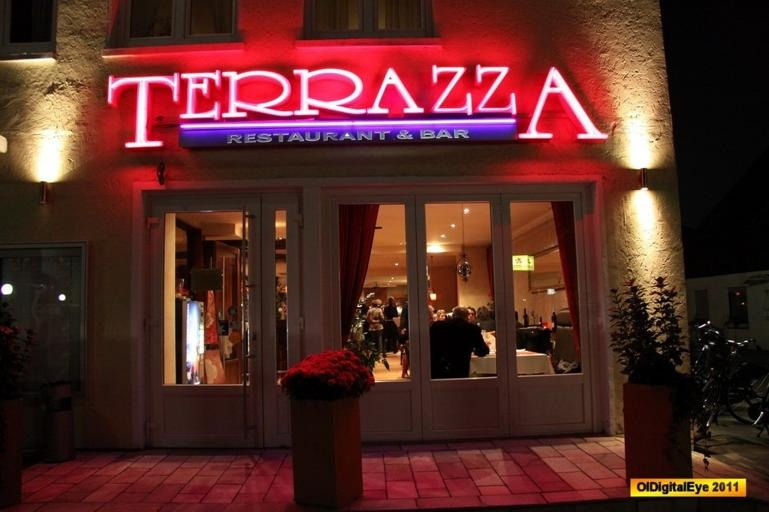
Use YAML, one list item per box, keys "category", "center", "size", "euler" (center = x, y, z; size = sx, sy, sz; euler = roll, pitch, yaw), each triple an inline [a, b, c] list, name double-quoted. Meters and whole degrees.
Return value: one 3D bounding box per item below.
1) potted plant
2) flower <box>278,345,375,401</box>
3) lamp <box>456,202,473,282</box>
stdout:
- category: "potted plant"
  center: [3.127, 1.307, 7.241]
  size: [0.918, 2.236, 1.503]
  euler: [2, 9, 22]
- category: "flower"
  center: [-0.568, 1.325, 6.908]
  size: [0.719, 0.435, 0.794]
  euler: [-6, -6, -39]
- category: "lamp"
  center: [1.061, -0.156, 8.308]
  size: [0.190, 0.969, 0.414]
  euler: [-1, 8, 7]
